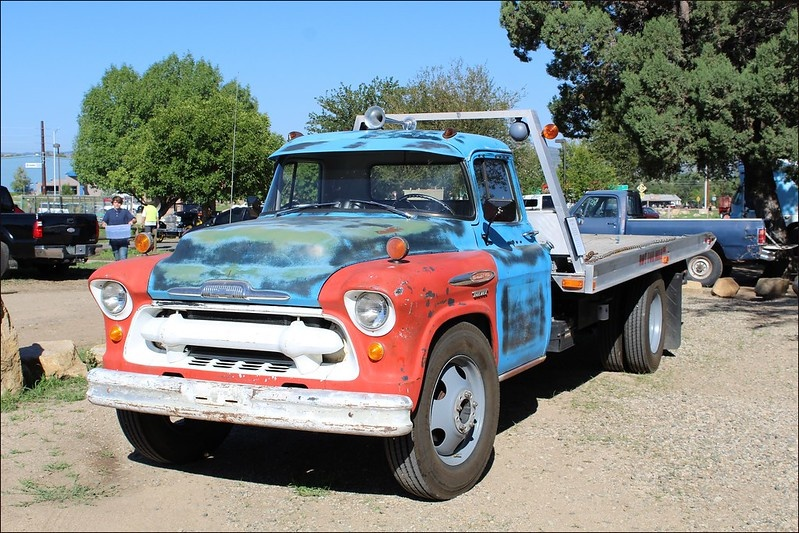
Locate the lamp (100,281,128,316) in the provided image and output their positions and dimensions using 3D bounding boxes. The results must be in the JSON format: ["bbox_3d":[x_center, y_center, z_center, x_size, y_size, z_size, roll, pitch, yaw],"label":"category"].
[{"bbox_3d":[-2.365,0.262,4.612,0.274,0.328,0.136,0,3,25],"label":"lamp"}]

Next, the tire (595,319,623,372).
[{"bbox_3d":[3.015,1.111,7.946,0.254,0.798,0.781,1,-3,40],"label":"tire"}]

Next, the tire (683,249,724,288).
[{"bbox_3d":[7.959,0.066,14.474,1.020,1.059,0.339,-3,-6,41],"label":"tire"}]

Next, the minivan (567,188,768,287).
[{"bbox_3d":[8.255,-1.099,16.794,6.519,3.325,3.715,3,3,21],"label":"minivan"}]

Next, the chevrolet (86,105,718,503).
[{"bbox_3d":[0.653,0.023,6.704,2.897,2.940,6.922,-1,1,31],"label":"chevrolet"}]
